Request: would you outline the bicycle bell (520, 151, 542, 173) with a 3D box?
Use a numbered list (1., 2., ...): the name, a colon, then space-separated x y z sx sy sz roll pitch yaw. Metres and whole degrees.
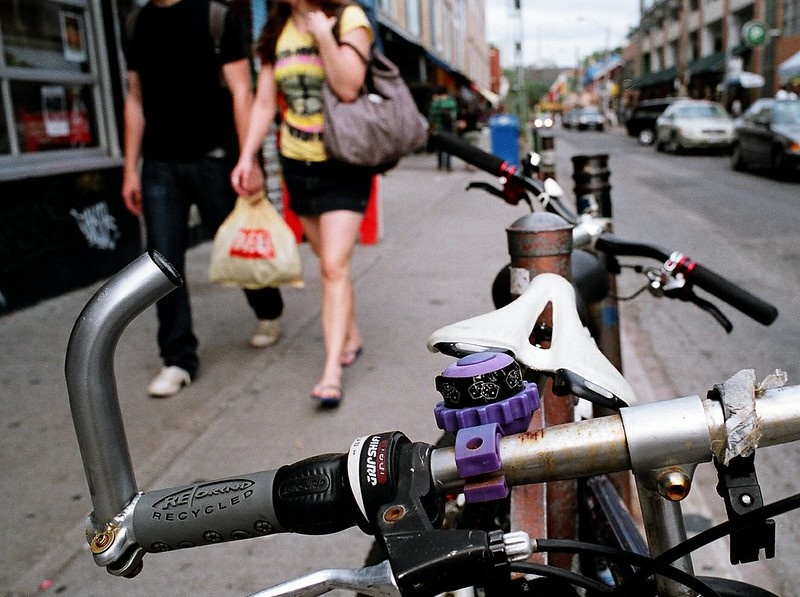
1. bicycle bell: 0.420 -0.430 2.405 0.051 0.088 0.075 -1 8 3
